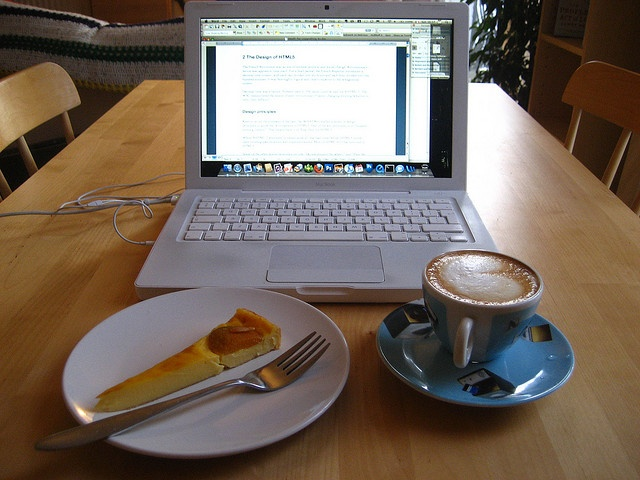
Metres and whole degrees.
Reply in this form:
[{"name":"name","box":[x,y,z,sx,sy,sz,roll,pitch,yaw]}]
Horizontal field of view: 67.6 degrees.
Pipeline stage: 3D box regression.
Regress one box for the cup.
[{"name":"cup","box":[0.178,0.089,0.541,0.123,0.101,0.159,8,26,22]}]

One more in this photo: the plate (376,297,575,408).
[{"name":"plate","box":[0.181,0.126,0.495,0.132,0.139,0.018,-26,30,25]}]

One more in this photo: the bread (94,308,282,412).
[{"name":"bread","box":[-0.140,0.128,0.540,0.195,0.036,0.072,-20,33,-30]}]

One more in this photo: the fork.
[{"name":"fork","box":[-0.138,0.158,0.495,0.201,0.023,0.027,-21,34,-18]}]

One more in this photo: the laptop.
[{"name":"laptop","box":[0.005,-0.144,0.755,0.527,0.332,0.470,0,31,1]}]
